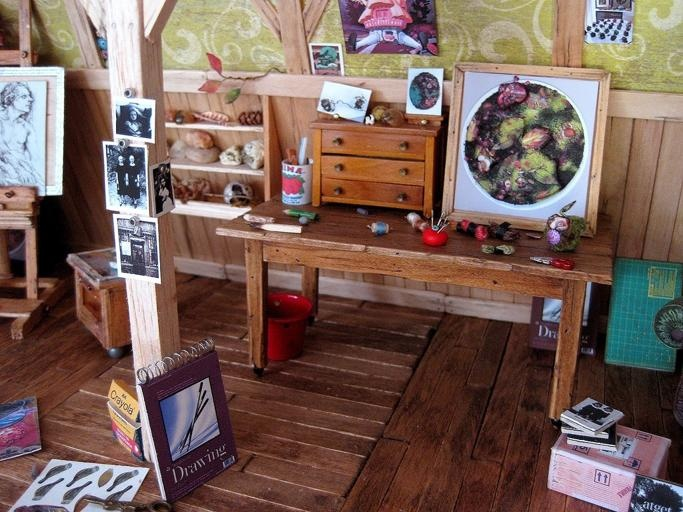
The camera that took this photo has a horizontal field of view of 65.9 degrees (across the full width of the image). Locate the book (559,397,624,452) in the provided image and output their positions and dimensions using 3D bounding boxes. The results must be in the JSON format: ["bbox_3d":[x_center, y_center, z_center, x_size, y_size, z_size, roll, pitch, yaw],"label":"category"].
[{"bbox_3d":[1.178,0.782,2.446,0.241,0.134,0.266,12,21,37],"label":"book"}]

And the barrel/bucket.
[{"bbox_3d":[-0.313,0.440,3.382,0.498,0.272,0.413,3,20,-1],"label":"barrel/bucket"}]
